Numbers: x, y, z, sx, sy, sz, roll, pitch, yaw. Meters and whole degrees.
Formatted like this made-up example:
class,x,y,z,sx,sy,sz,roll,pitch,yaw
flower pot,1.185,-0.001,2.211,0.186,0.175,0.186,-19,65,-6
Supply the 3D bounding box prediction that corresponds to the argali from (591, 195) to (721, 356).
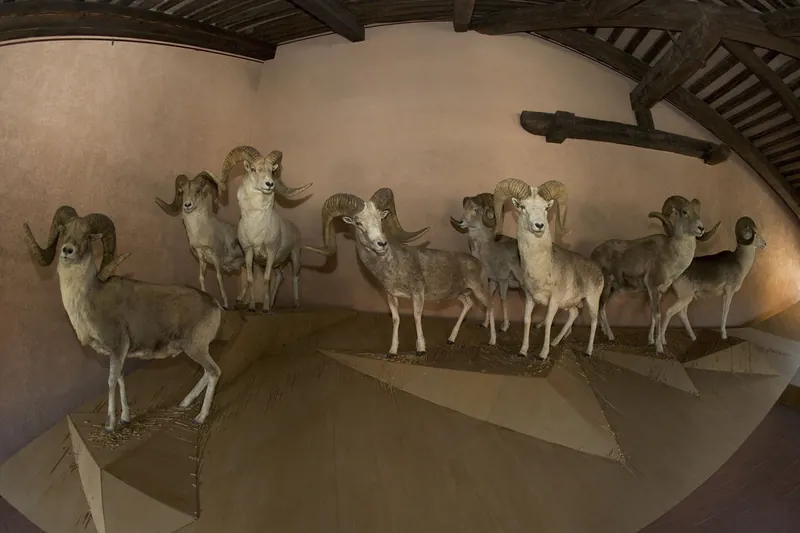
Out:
class,x,y,z,sx,sy,sz,roll,pitch,yaw
argali,3.625,0.102,8.275,1.612,2.300,0.953,4,13,35
